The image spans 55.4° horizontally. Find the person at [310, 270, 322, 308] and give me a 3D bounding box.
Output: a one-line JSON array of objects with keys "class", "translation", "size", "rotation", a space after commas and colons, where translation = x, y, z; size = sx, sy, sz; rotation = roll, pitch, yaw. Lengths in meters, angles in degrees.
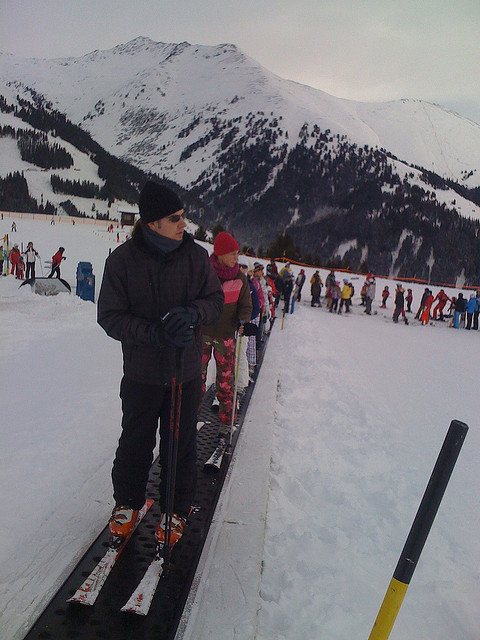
[{"class": "person", "translation": [3.451, -1.404, 20.592], "size": [0.518, 1.569, 0.978], "rotation": [6, 5, 10]}]

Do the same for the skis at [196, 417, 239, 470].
[{"class": "skis", "translation": [-0.159, 0.917, 3.267], "size": [0.128, 0.148, 1.071], "rotation": [14, 11, 1]}]

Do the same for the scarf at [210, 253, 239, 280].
[{"class": "scarf", "translation": [-0.126, -0.413, 3.542], "size": [0.226, 0.185, 0.150], "rotation": [8, 6, -2]}]

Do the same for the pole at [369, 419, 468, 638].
[{"class": "pole", "translation": [0.989, 1.158, 2.522], "size": [0.092, 1.269, 0.127], "rotation": [16, 3, 15]}]

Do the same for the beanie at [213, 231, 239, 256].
[{"class": "beanie", "translation": [-0.109, -0.562, 3.374], "size": [0.185, 0.191, 0.309], "rotation": [7, 7, -5]}]

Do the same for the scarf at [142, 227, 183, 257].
[{"class": "scarf", "translation": [-0.359, -0.345, 1.982], "size": [0.123, 0.083, 0.109], "rotation": [28, 36, 17]}]

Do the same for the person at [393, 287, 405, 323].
[{"class": "person", "translation": [6.252, -0.605, 17.897], "size": [0.320, 1.019, 1.080], "rotation": [7, 5, 19]}]

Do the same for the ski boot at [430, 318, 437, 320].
[{"class": "ski boot", "translation": [8.590, -0.074, 20.192], "size": [0.177, 0.089, 0.579], "rotation": [15, 8, 37]}]

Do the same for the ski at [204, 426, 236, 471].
[{"class": "ski", "translation": [-0.147, 0.920, 3.242], "size": [0.112, 0.087, 0.898], "rotation": [14, 8, 4]}]

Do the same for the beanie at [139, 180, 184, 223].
[{"class": "beanie", "translation": [-0.350, -0.515, 2.002], "size": [0.194, 0.197, 0.199], "rotation": [6, 6, -16]}]

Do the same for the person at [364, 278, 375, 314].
[{"class": "person", "translation": [5.514, -1.018, 19.336], "size": [0.314, 1.025, 1.240], "rotation": [7, 6, 17]}]

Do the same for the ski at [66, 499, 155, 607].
[{"class": "ski", "translation": [-0.564, 1.002, 1.930], "size": [0.059, 0.030, 0.444], "rotation": [5, 8, 5]}]

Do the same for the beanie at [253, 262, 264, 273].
[{"class": "beanie", "translation": [0.275, -0.823, 7.006], "size": [0.124, 0.084, 0.215], "rotation": [-6, 18, 1]}]

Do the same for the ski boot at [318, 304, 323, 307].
[{"class": "ski boot", "translation": [3.649, -0.692, 20.845], "size": [0.120, 0.105, 0.149], "rotation": [-8, -22, -11]}]

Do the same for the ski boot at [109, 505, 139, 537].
[{"class": "ski boot", "translation": [-0.539, 0.905, 2.113], "size": [0.052, 0.109, 0.216], "rotation": [5, 24, 3]}]
